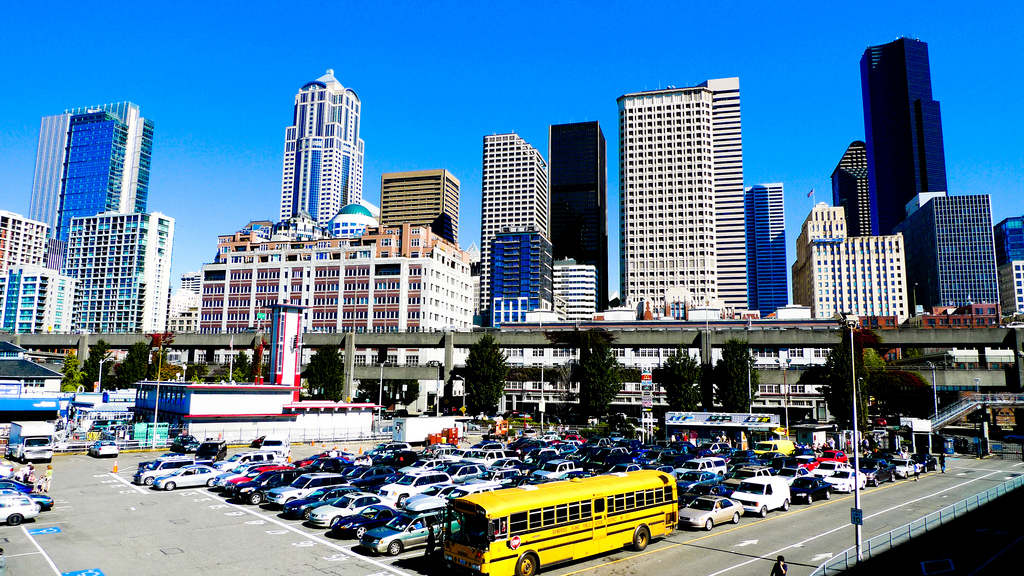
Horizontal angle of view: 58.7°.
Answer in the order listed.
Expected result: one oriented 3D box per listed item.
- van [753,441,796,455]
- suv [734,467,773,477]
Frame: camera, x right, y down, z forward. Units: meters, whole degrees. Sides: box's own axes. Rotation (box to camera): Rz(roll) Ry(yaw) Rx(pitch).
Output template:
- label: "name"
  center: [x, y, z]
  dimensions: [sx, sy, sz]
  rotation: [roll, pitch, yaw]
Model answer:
- label: "van"
  center: [53.987, 32.450, 185.588]
  dimensions: [6.359, 2.688, 3.438]
  rotation: [5, -10, -17]
- label: "suv"
  center: [44.359, 34.255, 169.161]
  dimensions: [4.751, 1.783, 2.472]
  rotation: [6, -9, -10]
